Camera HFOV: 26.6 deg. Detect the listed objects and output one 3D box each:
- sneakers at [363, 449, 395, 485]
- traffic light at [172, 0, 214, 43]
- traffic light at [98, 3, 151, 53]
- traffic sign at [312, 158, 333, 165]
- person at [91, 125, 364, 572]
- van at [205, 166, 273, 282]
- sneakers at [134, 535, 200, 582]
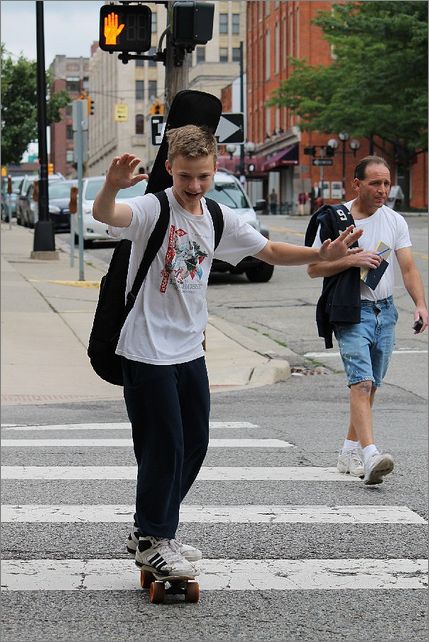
[{"bbox_3d":[0.874,0.771,4.806,0.096,0.117,0.245,4,-36,-30],"label":"sneakers"},{"bbox_3d":[-0.212,-2.915,8.831,0.406,0.455,0.319,0,4,-1],"label":"traffic light"},{"bbox_3d":[-0.965,-3.168,9.807,0.552,0.559,0.511,0,4,-6],"label":"traffic light"},{"bbox_3d":[6.299,-9.237,52.713,1.102,0.531,0.138,-5,0,-19],"label":"traffic sign"},{"bbox_3d":[-0.115,0.143,3.275,0.366,1.642,0.910,3,5,40],"label":"person"},{"bbox_3d":[0.703,-1.822,17.849,1.488,1.412,2.485,0,-2,-6],"label":"van"},{"bbox_3d":[-0.179,0.822,3.143,0.285,0.172,0.102,-2,-6,36],"label":"sneakers"}]
